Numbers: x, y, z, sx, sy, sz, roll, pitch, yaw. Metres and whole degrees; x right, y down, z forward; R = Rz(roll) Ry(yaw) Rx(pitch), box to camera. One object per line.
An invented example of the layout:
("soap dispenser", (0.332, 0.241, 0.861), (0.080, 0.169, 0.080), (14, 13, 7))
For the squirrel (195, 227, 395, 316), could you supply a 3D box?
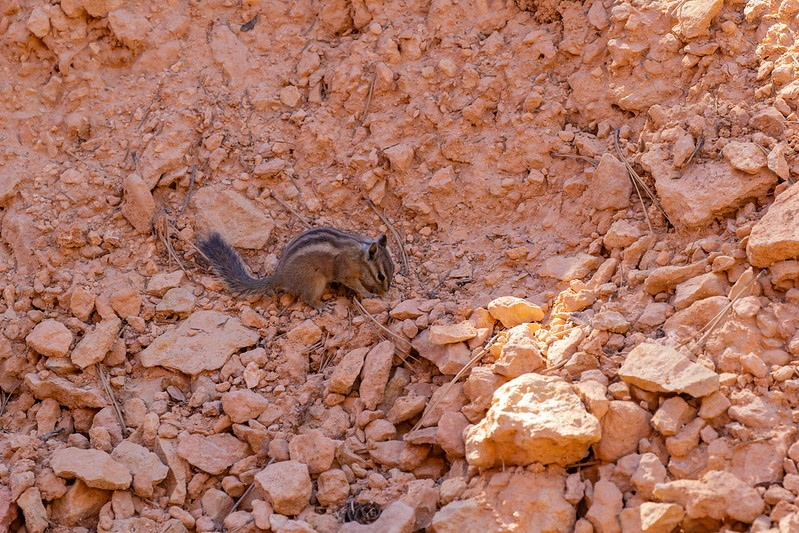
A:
("squirrel", (-1.117, -0.017, 9.895), (1.805, 1.550, 0.901), (-13, 94, -42))
